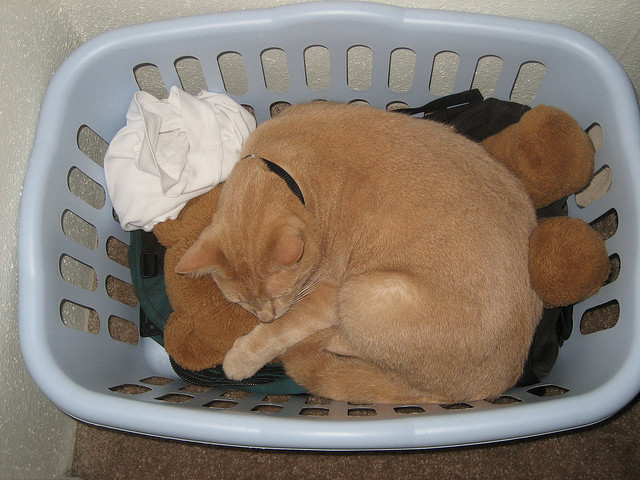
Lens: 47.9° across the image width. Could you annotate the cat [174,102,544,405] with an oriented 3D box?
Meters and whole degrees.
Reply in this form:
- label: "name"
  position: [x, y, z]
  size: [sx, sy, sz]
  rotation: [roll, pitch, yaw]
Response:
- label: "cat"
  position: [0.162, 0.042, 2.070]
  size: [0.981, 0.393, 0.814]
  rotation: [9, 73, 7]
